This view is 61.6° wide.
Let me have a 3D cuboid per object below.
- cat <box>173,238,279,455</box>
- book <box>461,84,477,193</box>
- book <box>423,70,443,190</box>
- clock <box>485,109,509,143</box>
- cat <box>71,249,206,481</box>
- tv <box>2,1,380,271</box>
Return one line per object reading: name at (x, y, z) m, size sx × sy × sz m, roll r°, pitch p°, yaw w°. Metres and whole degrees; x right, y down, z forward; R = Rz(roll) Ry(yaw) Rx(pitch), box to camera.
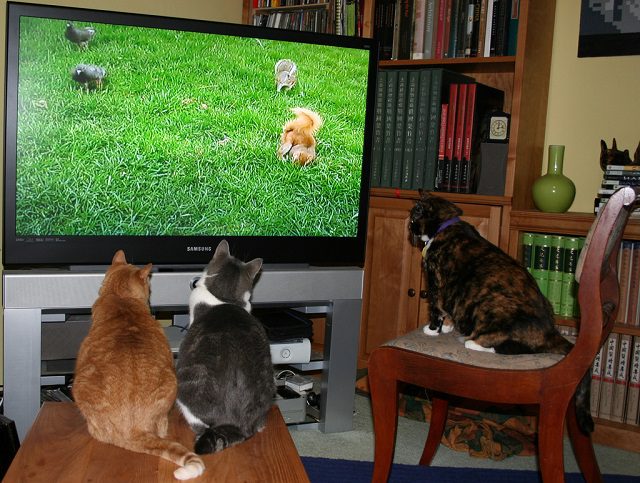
cat at (-0.276, 0.328, 1.736) m, size 0.242 × 0.645 × 0.311 m, roll 5°, pitch -28°, yaw -10°
book at (0.704, -0.488, 2.546) m, size 0.045 × 0.498 × 0.081 m, roll 4°, pitch 14°, yaw 4°
book at (0.548, -0.547, 2.602) m, size 0.091 × 0.418 × 0.396 m, roll 5°, pitch 2°, yaw 5°
clock at (0.839, -0.541, 2.541) m, size 0.133 × 0.141 × 0.066 m, roll 15°, pitch 18°, yaw 39°
cat at (-0.524, 0.338, 1.646) m, size 0.281 × 0.687 × 0.324 m, roll 2°, pitch -27°, yaw -14°
tv at (-0.545, -0.397, 2.174) m, size 1.126 × 0.787 × 0.120 m, roll 1°, pitch 7°, yaw -13°
